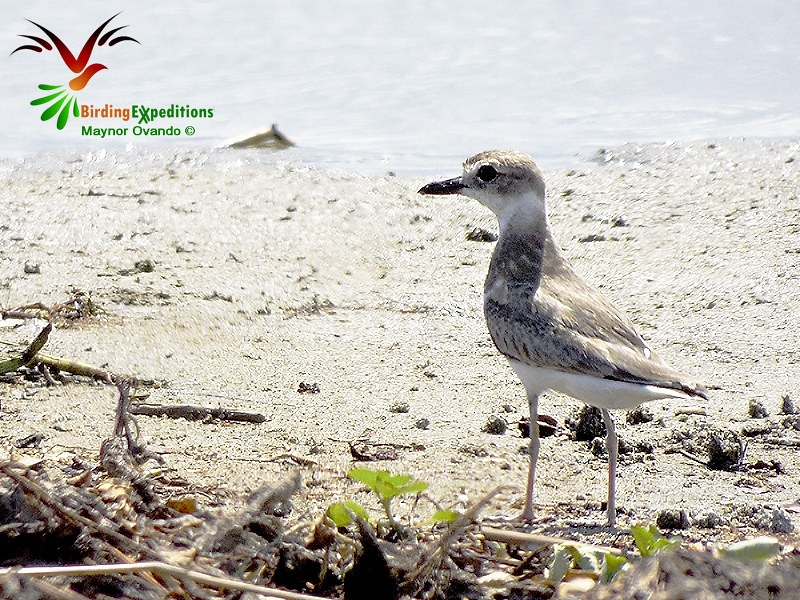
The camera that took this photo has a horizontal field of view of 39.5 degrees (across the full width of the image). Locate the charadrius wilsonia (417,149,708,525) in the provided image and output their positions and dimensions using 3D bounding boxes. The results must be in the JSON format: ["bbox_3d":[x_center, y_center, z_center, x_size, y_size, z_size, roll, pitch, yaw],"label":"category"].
[{"bbox_3d":[0.939,0.134,6.372,0.887,1.942,1.601,-7,12,-17],"label":"charadrius wilsonia"}]
